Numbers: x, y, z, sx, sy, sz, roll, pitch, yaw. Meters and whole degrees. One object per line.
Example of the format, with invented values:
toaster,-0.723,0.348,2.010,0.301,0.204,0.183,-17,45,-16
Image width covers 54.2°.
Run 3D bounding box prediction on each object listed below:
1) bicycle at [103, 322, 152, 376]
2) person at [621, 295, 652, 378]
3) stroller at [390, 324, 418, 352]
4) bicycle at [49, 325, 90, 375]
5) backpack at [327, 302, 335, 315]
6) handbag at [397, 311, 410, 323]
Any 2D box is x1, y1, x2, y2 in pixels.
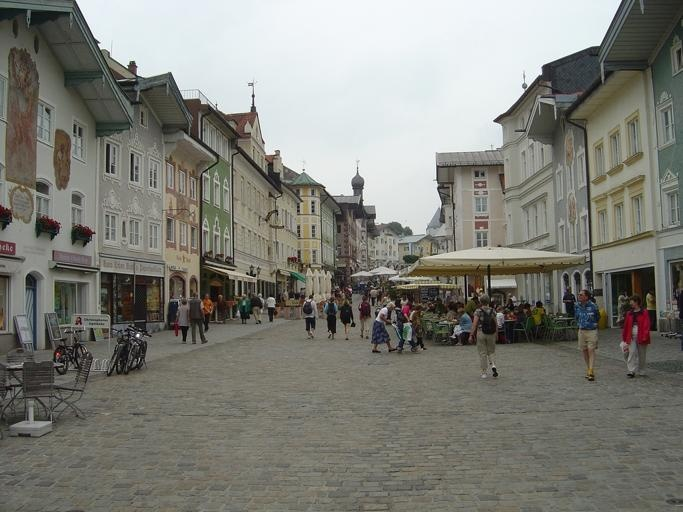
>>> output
bicycle,-5.734,2.642,18.495,0.751,1.050,1.887,6,-5,0
person,7.000,1.886,15.824,0.612,1.912,1.243,-5,-8,26
stroller,2.202,2.878,23.334,0.798,1.327,1.113,-5,-10,34
bicycle,-7.257,2.550,18.001,0.581,1.124,1.722,-8,-3,6
backpack,-0.420,2.333,29.453,0.343,0.554,0.485,0,-8,2
handbag,2.393,2.309,25.380,0.334,0.190,0.596,19,-28,44
